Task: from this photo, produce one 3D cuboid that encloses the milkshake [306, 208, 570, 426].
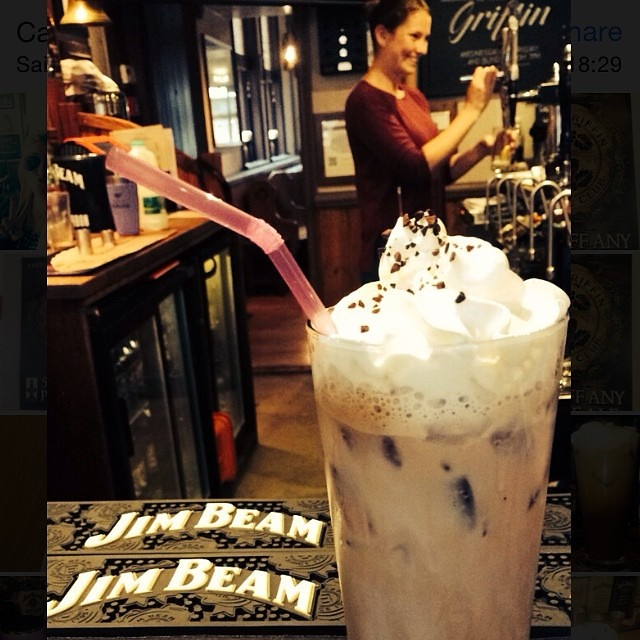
[{"bbox_3d":[0.142,-0.076,0.994,0.372,0.129,0.296,-5,23,-18],"label":"milkshake"}]
